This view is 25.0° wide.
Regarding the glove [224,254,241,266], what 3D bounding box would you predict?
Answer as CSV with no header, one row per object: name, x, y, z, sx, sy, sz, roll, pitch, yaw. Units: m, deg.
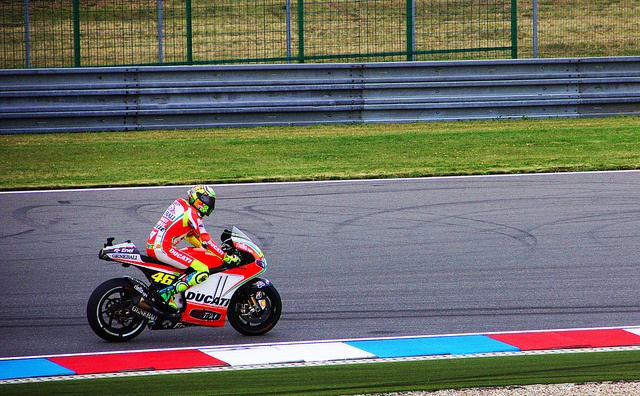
glove,-1.757,1.228,28.653,0.323,0.189,0.119,17,-63,-21
